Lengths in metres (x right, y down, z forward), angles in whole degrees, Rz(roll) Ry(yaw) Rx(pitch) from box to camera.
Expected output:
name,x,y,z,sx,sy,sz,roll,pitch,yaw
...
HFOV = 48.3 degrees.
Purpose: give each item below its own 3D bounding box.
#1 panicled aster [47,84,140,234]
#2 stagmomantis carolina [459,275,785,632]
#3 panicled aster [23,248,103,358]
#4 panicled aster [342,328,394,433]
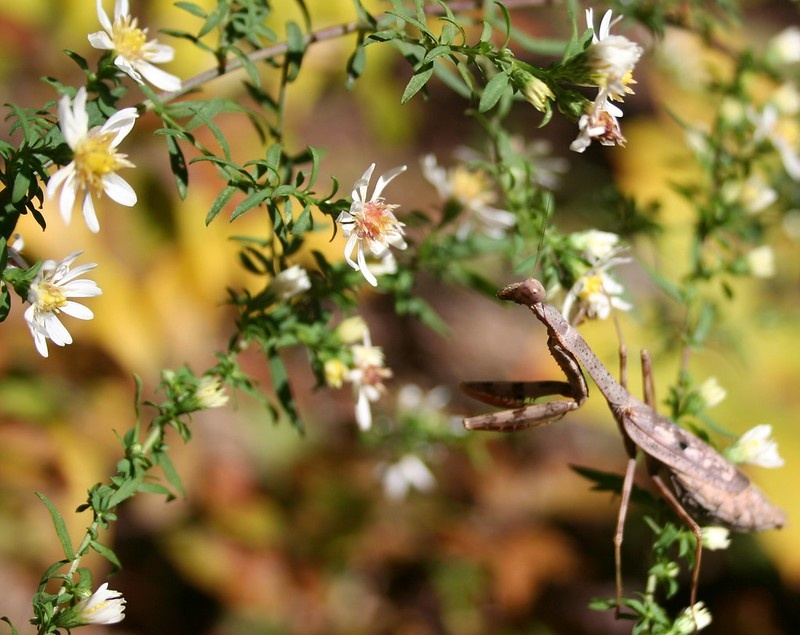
name,x,y,z,sx,sy,sz,roll,pitch,yaw
panicled aster,-0.402,-0.208,1.178,0.115,0.178,0.168,-4,2,-19
stagmomantis carolina,0.330,0.195,1.332,0.464,0.525,0.230,-4,2,-31
panicled aster,-0.460,-0.022,1.199,0.114,0.136,0.115,23,26,30
panicled aster,-0.048,0.087,1.360,0.063,0.212,0.112,2,9,7
